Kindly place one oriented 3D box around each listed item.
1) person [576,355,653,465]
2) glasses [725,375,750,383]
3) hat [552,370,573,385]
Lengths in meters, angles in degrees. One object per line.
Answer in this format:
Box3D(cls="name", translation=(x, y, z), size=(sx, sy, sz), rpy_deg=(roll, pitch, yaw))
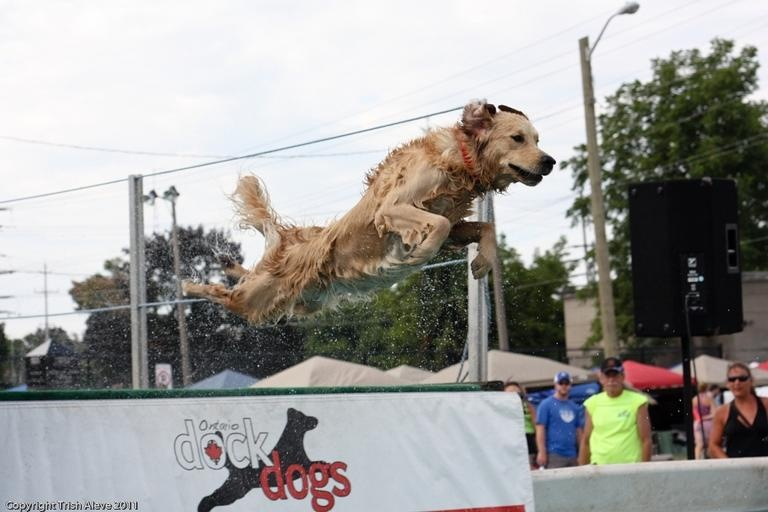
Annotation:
Box3D(cls="person", translation=(3.043, 2.090, 17.288), size=(0.940, 1.444, 0.577), rpy_deg=(1, 2, 11))
Box3D(cls="glasses", translation=(4.708, 1.623, 17.320), size=(0.288, 0.112, 0.114), rpy_deg=(1, 2, 8))
Box3D(cls="hat", translation=(2.498, 1.713, 18.424), size=(0.198, 0.168, 0.302), rpy_deg=(3, -7, -1))
